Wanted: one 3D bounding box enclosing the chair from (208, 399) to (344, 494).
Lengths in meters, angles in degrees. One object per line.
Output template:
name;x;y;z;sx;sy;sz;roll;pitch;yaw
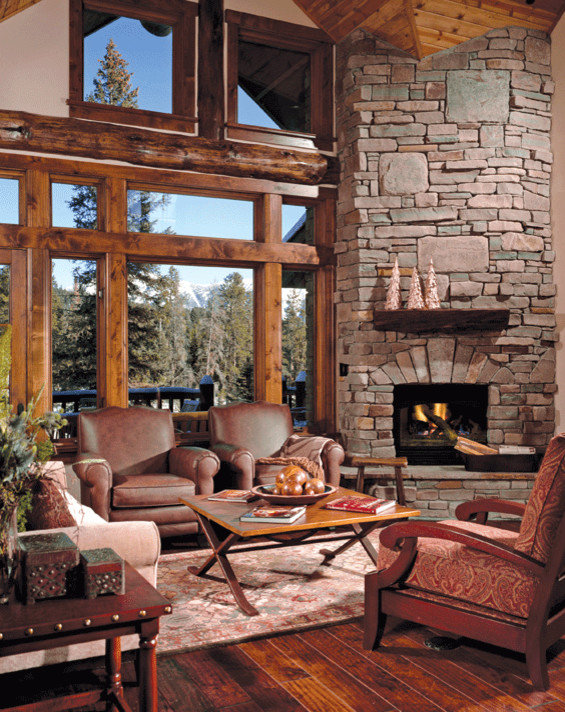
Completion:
chair;-0.077;0.649;4.967;0.833;0.823;0.772;2;-6;-28

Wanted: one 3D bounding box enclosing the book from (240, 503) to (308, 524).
book;-0.046;0.774;3.169;0.296;0.034;0.338;0;-3;8

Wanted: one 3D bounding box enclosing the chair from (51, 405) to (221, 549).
chair;-0.972;0.721;4.706;1.146;1.102;1.061;1;-5;-24

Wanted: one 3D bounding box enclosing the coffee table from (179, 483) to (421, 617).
coffee table;-0.052;0.939;3.401;0.900;0.322;0.796;-1;5;-27

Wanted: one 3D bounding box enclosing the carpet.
carpet;-0.047;1.188;3.241;0.692;0.146;0.658;0;-3;-23

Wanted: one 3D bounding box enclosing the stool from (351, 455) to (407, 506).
stool;0.749;0.908;4.961;0.464;0.416;0.437;-1;-5;1

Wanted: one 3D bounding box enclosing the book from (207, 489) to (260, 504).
book;-0.271;0.802;3.671;0.219;0.029;0.191;-2;-2;10
